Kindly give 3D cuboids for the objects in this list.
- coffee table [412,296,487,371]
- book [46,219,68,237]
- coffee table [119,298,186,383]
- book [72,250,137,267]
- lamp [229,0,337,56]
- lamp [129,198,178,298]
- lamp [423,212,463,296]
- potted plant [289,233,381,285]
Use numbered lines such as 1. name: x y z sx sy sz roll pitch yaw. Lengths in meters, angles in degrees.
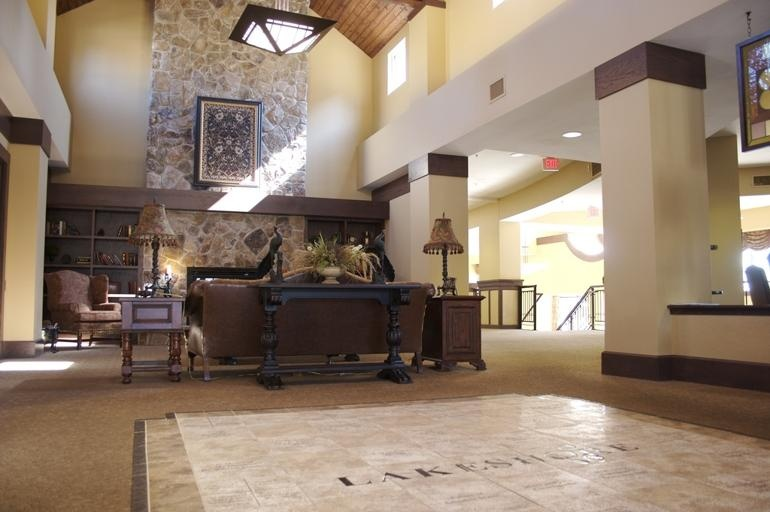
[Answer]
1. coffee table: 0.816 0.939 6.853 0.874 1.111 0.880 1 -4 -19
2. book: -6.493 -0.513 10.585 0.430 0.420 0.311 -4 -9 20
3. coffee table: -2.582 0.901 5.984 0.837 1.125 0.878 1 -3 -22
4. book: -5.617 0.056 10.782 1.120 0.312 0.425 0 -1 -24
5. lamp: -1.419 -3.191 7.144 1.148 0.643 0.928 0 -1 -26
6. lamp: -2.674 -0.126 6.215 0.477 1.115 0.958 0 -1 -23
7. lamp: 0.793 -0.010 7.154 0.499 1.053 0.990 0 -1 6
8. potted plant: -0.558 0.047 5.996 0.987 0.474 0.572 0 -1 -10
